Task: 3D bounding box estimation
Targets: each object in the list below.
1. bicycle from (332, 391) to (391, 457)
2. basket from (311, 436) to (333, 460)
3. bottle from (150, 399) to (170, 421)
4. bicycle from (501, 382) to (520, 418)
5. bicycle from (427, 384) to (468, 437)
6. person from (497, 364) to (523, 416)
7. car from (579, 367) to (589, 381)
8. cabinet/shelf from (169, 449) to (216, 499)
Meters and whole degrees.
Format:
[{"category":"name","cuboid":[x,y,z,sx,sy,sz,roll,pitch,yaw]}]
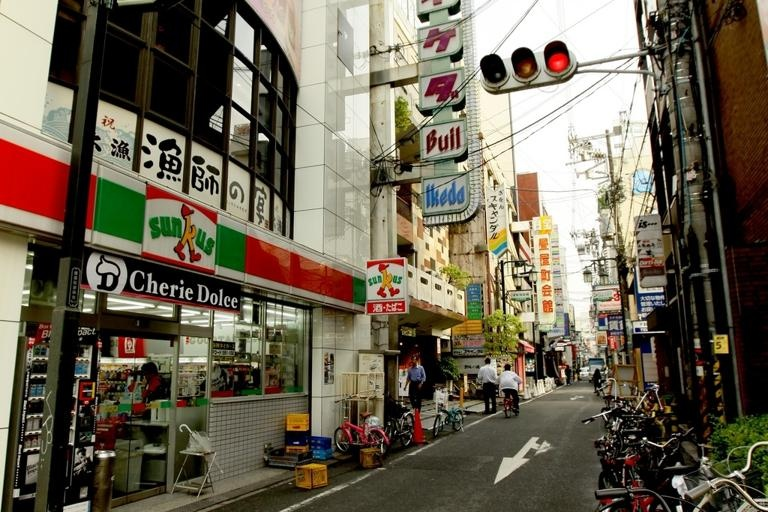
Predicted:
[{"category":"bicycle","cuboid":[-0.470,4.627,18.477,1.662,1.101,1.058,-13,-18,43]},{"category":"basket","cuboid":[-1.605,4.996,17.979,0.529,0.487,0.522,6,-7,-36]},{"category":"bottle","cuboid":[-4.831,3.408,15.156,0.403,0.544,0.420,-2,-8,0]},{"category":"bicycle","cuboid":[4.589,5.349,25.143,0.528,0.712,1.127,-2,-2,21]},{"category":"bicycle","cuboid":[1.971,5.059,22.155,0.977,1.045,1.656,-11,-23,28]},{"category":"person","cuboid":[4.663,4.863,25.685,0.954,1.172,1.768,-2,-5,9]},{"category":"car","cuboid":[25.071,14.882,85.936,1.409,1.112,3.247,1,0,16]},{"category":"cabinet/shelf","cuboid":[-4.075,4.875,15.291,0.883,1.228,0.911,-6,-19,24]}]
